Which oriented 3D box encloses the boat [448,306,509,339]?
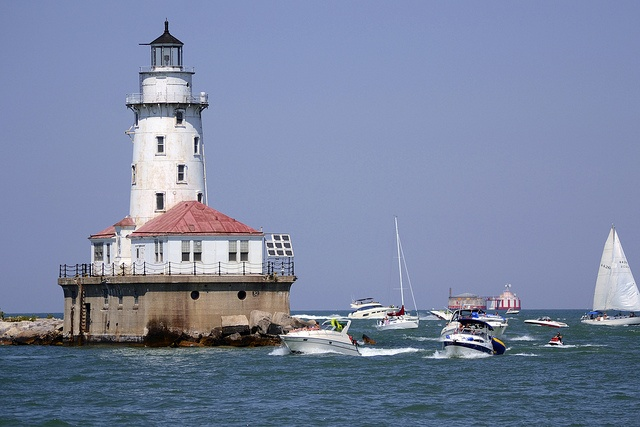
[{"bbox_3d":[16.021,10.739,125.326,6.600,3.339,3.950,2,-4,-21],"label":"boat"}]
